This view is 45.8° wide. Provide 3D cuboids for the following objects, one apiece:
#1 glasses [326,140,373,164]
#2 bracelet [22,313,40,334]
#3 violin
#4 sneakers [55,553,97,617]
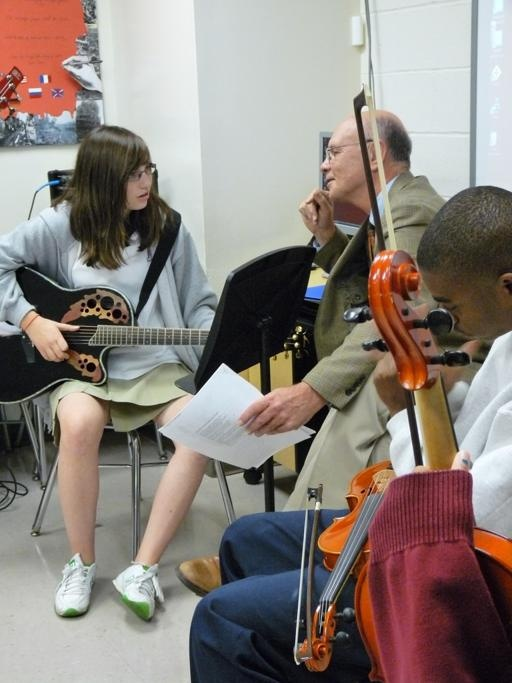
[{"bbox_3d":[0.261,-0.549,1.741,0.134,0.038,0.124,-2,20,-3],"label":"glasses"},{"bbox_3d":[-0.718,-0.053,1.933,0.017,0.058,0.061,37,47,0],"label":"bracelet"},{"bbox_3d":[0.140,0.302,0.919,0.157,0.080,0.407,-2,8,12],"label":"violin"},{"bbox_3d":[-0.520,0.708,1.787,0.075,0.089,0.208,2,16,-3],"label":"sneakers"}]
